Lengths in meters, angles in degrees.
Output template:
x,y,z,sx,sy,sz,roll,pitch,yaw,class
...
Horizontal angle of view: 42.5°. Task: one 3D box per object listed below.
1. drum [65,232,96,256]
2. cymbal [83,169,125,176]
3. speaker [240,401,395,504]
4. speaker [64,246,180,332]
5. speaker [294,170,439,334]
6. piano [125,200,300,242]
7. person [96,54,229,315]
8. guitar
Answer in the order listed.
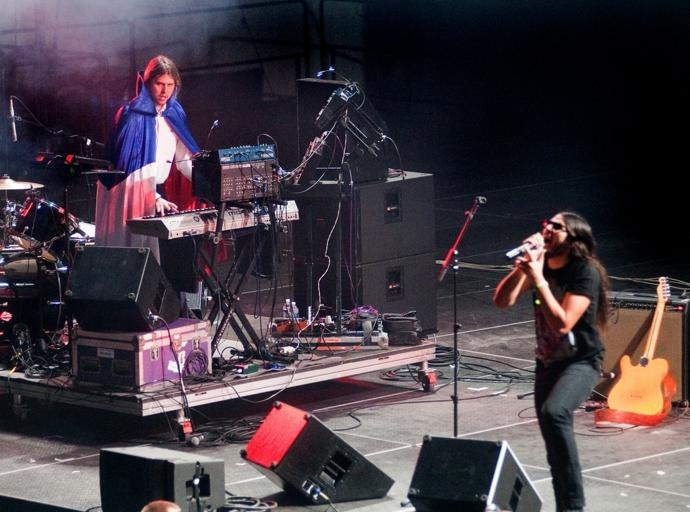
x,y,z,sx,sy,sz,roll,pitch,yaw,class
-2.121,-0.093,7.065,0.270,0.132,0.238,2,22,6,drum
-1.925,-0.676,7.093,0.225,0.053,0.246,0,-1,44,cymbal
-0.164,1.139,5.228,0.639,0.421,0.627,38,-12,-18,speaker
-1.637,0.265,6.285,0.712,0.595,0.629,-1,-6,26,speaker
0.127,-0.049,7.758,1.039,1.748,1.378,7,9,39,speaker
-0.955,-0.327,6.788,0.437,0.191,1.326,21,23,40,piano
-1.586,-0.587,7.473,0.967,1.977,0.749,-21,40,-40,person
2.183,0.678,6.486,0.451,0.957,0.665,3,11,23,guitar
